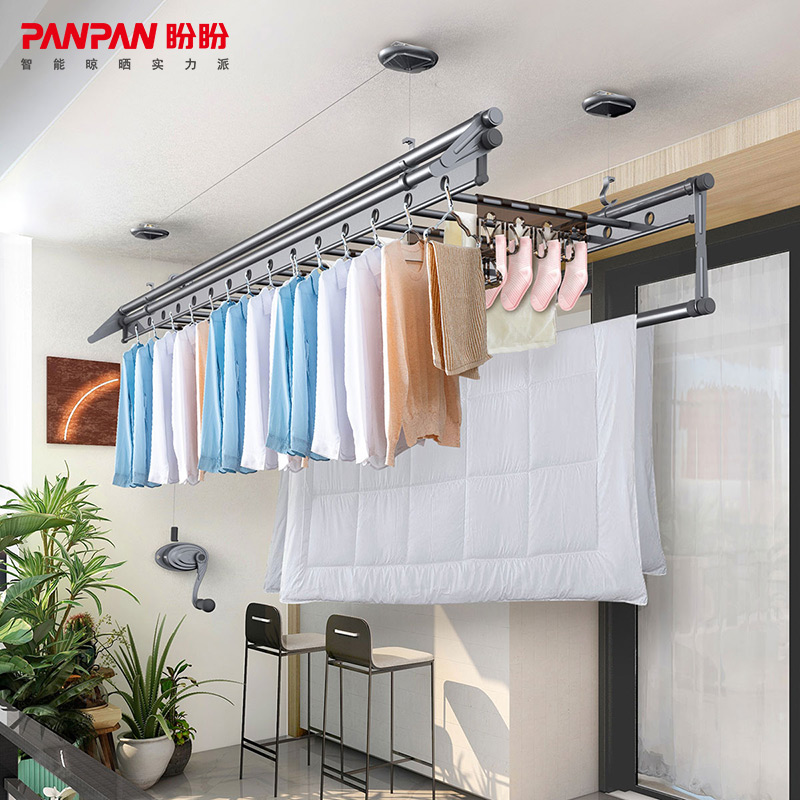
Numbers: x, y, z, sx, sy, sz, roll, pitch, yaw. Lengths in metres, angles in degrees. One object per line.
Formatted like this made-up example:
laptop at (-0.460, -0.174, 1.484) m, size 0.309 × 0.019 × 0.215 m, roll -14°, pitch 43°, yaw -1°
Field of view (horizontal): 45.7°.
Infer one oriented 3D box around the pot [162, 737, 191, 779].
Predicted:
pot at (-1.115, 1.792, 4.730) m, size 0.147 × 0.124 × 0.158 m, roll 1°, pitch -12°, yaw 0°

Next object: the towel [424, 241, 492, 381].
towel at (0.151, -0.244, 2.549) m, size 0.208 × 0.357 × 0.049 m, roll 7°, pitch -9°, yaw -41°

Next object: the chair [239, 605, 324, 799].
chair at (-0.617, 1.486, 4.966) m, size 0.429 × 0.876 × 1.145 m, roll 2°, pitch -7°, yaw -8°

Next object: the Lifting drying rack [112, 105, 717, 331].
Lifting drying rack at (-0.010, -0.454, 3.252) m, size 0.997 × 0.543 × 2.001 m, roll 6°, pitch -9°, yaw -35°

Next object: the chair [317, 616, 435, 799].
chair at (-0.101, 1.465, 4.664) m, size 0.562 × 0.878 × 1.188 m, roll 1°, pitch -7°, yaw -4°

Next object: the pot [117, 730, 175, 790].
pot at (-1.241, 1.757, 4.646) m, size 0.274 × 0.249 × 0.283 m, roll -2°, pitch -3°, yaw 0°

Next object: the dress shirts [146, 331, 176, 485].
dress shirts at (-0.912, 0.028, 3.692) m, size 0.072 × 0.574 × 0.166 m, roll 6°, pitch -8°, yaw -39°
